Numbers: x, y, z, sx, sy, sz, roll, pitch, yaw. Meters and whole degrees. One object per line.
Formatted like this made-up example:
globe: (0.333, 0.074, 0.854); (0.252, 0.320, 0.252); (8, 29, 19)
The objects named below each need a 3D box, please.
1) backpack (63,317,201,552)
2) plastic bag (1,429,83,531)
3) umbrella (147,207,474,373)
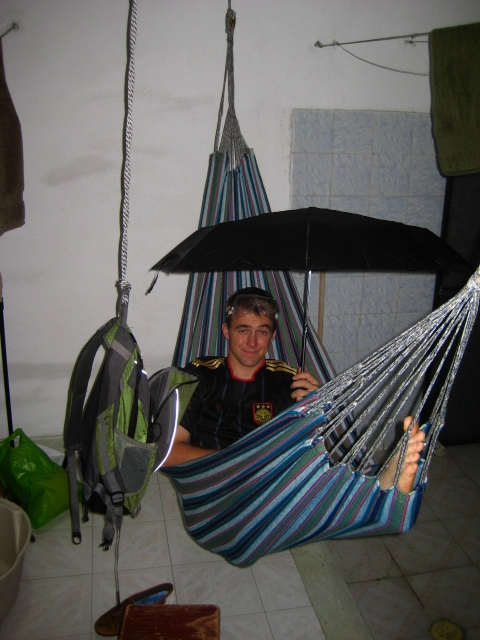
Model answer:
backpack: (-0.294, 0.277, 1.273); (0.299, 0.551, 0.253); (6, 0, -44)
plastic bag: (-0.869, 0.658, 2.091); (0.329, 0.331, 0.209); (8, 11, 32)
umbrella: (0.214, -0.134, 1.913); (0.648, 0.465, 0.652); (1, 10, 15)
